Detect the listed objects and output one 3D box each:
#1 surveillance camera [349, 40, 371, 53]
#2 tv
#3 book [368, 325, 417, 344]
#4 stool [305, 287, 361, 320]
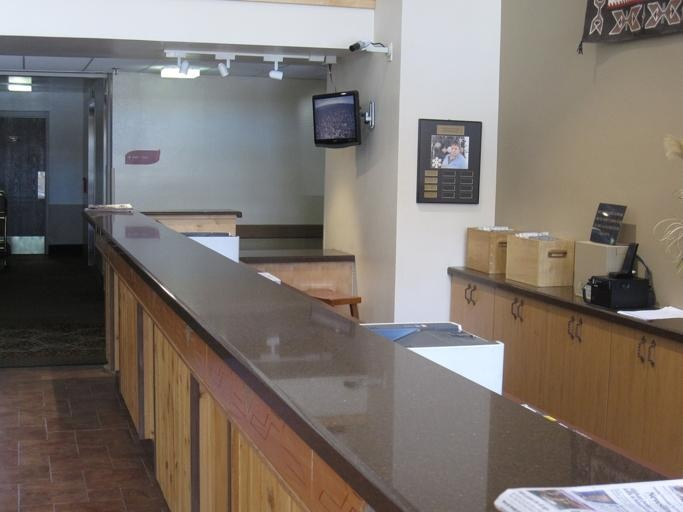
[{"bbox_3d":[0.177,-2.140,5.980,0.201,0.073,0.142,-35,17,-24],"label":"surveillance camera"},{"bbox_3d":[-0.015,-1.493,6.454,0.716,0.580,0.311,6,13,38],"label":"tv"},{"bbox_3d":[0.222,0.299,2.393,0.163,0.016,0.197,-8,11,-28],"label":"book"},{"bbox_3d":[-0.099,0.481,5.980,0.519,0.362,0.909,-3,10,-4],"label":"stool"}]
